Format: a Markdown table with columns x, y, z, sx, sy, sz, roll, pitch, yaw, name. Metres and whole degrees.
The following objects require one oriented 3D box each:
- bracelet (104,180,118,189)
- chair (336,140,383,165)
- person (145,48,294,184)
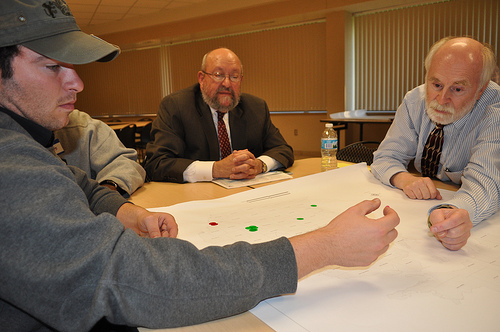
| x | y | z | sx | sy | sz | roll | pitch | yaw | name |
| --- | --- | --- | --- | --- | --- | --- | --- | --- | --- |
| -0.664 | 0.089 | 1.761 | 0.030 | 0.028 | 0.021 | -1 | 53 | 34 | bracelet |
| 0.793 | -0.103 | 2.750 | 0.231 | 0.310 | 0.228 | 2 | 5 | 41 | chair |
| -0.203 | -0.336 | 2.563 | 1.026 | 0.856 | 0.782 | -3 | 16 | -16 | person |
